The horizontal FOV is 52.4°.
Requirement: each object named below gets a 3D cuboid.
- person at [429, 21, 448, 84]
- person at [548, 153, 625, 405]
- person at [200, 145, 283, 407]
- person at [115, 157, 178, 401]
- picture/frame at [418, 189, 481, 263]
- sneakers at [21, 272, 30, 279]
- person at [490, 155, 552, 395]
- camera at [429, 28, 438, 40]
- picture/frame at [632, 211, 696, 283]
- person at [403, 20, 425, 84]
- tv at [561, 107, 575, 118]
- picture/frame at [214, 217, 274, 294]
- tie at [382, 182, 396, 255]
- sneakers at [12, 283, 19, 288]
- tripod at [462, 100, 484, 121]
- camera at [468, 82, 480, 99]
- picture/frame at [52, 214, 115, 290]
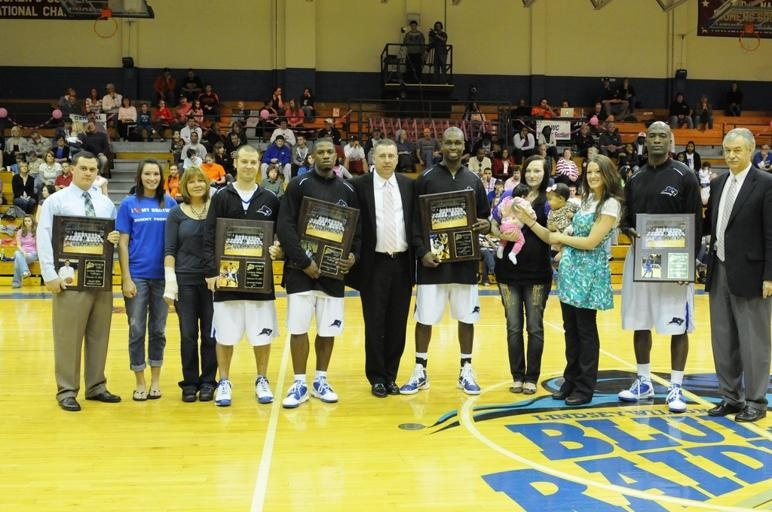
[{"bbox_3d":[1.482,-5.818,22.186,0.466,1.564,0.521,-2,8,4],"label":"person"},{"bbox_3d":[2.263,0.264,8.794,0.783,2.758,0.545,-2,8,0],"label":"person"},{"bbox_3d":[-1.590,0.368,9.026,1.139,3.293,0.988,-2,23,-17],"label":"person"},{"bbox_3d":[-2.674,0.272,8.838,0.588,2.707,0.370,-5,9,-20],"label":"person"},{"bbox_3d":[0.707,-0.320,8.848,0.772,0.907,0.100,-7,-3,-7],"label":"picture/frame"},{"bbox_3d":[-7.245,0.378,15.762,0.147,0.076,0.184,5,0,-26],"label":"sneakers"},{"bbox_3d":[1.598,0.210,9.134,0.544,2.723,0.612,6,12,43],"label":"person"},{"bbox_3d":[1.333,-6.285,22.158,0.191,0.254,0.367,-4,8,-10],"label":"camera"},{"bbox_3d":[3.052,-0.089,8.524,0.823,0.880,0.073,1,-8,9],"label":"picture/frame"},{"bbox_3d":[0.803,-5.769,22.190,0.597,1.709,0.428,-2,8,2],"label":"person"},{"bbox_3d":[4.947,-3.893,21.323,0.596,0.255,0.287,-7,10,-33],"label":"tv"},{"bbox_3d":[-1.573,0.008,8.553,0.887,1.043,0.121,1,-4,-6],"label":"picture/frame"},{"bbox_3d":[0.041,-0.428,8.876,0.115,0.787,0.151,-2,8,0],"label":"tie"},{"bbox_3d":[-7.391,0.571,15.668,0.144,0.109,0.084,-3,8,-6],"label":"sneakers"},{"bbox_3d":[2.437,-4.023,21.804,0.551,0.531,0.928,-1,8,6],"label":"tripod"},{"bbox_3d":[2.565,-4.777,22.772,0.269,0.373,0.706,-4,-1,7],"label":"camera"},{"bbox_3d":[-3.330,-0.032,8.555,0.819,1.008,0.079,4,-9,-22],"label":"picture/frame"}]
